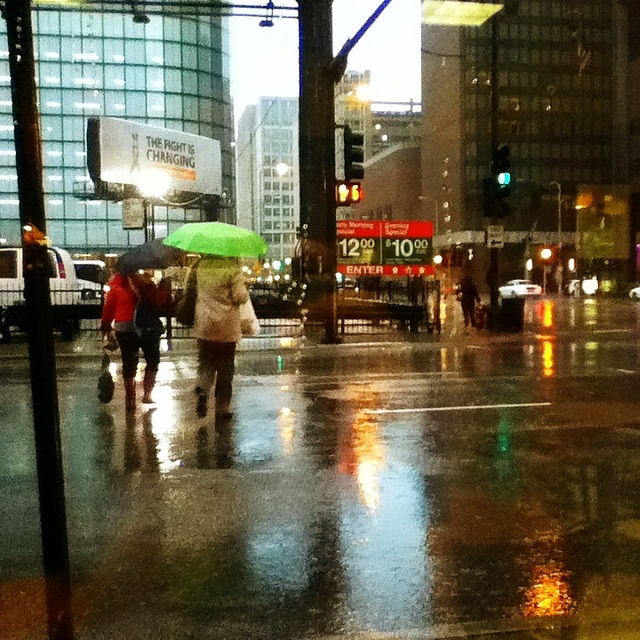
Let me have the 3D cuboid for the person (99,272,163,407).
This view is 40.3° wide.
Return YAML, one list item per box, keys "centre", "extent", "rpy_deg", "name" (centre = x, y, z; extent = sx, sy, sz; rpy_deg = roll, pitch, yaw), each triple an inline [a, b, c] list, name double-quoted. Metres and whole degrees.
- centre: [-2.200, 0.233, 10.253]
  extent: [0.706, 1.620, 0.926]
  rpy_deg: [-2, 5, -16]
  name: "person"

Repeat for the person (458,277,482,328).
- centre: [4.300, -0.586, 25.365]
  extent: [0.591, 1.722, 0.394]
  rpy_deg: [1, -29, -2]
  name: "person"

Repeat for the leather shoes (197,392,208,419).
- centre: [-1.289, 0.923, 9.517]
  extent: [0.127, 0.298, 0.072]
  rpy_deg: [0, 1, 12]
  name: "leather shoes"

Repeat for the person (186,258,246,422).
- centre: [-1.052, 0.210, 9.162]
  extent: [0.663, 1.757, 0.583]
  rpy_deg: [1, 4, 15]
  name: "person"

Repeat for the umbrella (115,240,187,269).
- centre: [-2.015, -0.752, 10.286]
  extent: [0.640, 0.268, 0.422]
  rpy_deg: [-13, 14, -42]
  name: "umbrella"

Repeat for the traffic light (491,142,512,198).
- centre: [4.365, -3.531, 21.225]
  extent: [0.491, 1.330, 0.370]
  rpy_deg: [-9, -26, 17]
  name: "traffic light"

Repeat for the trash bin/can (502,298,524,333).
- centre: [4.874, -0.152, 22.170]
  extent: [0.531, 0.852, 0.534]
  rpy_deg: [1, 5, 12]
  name: "trash bin/can"

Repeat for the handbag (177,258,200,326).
- centre: [-1.380, -0.357, 9.141]
  extent: [0.175, 0.878, 0.183]
  rpy_deg: [9, -16, -20]
  name: "handbag"
